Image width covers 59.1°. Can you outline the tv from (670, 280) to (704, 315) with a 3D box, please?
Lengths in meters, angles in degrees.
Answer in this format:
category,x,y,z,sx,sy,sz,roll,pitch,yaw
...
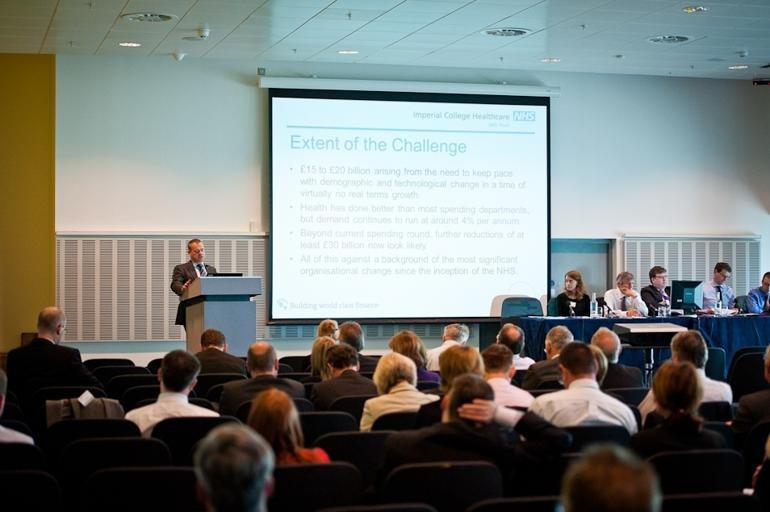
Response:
category,x,y,z,sx,sy,sz,roll,pitch,yaw
tv,4.243,0.592,9.537,0.487,0.466,0.173,0,5,-10

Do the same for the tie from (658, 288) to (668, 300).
category,x,y,z,sx,sy,sz,roll,pitch,yaw
tie,4.137,0.567,10.100,0.112,0.151,0.056,0,-28,-6

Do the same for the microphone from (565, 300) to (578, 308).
category,x,y,z,sx,sy,sz,roll,pitch,yaw
microphone,2.651,0.682,9.620,0.116,0.112,0.034,-1,0,-3

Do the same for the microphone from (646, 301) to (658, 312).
category,x,y,z,sx,sy,sz,roll,pitch,yaw
microphone,3.857,0.733,9.818,0.142,0.089,0.147,4,13,-16

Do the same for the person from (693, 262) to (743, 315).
category,x,y,z,sx,sy,sz,roll,pitch,yaw
person,5.224,0.563,10.678,0.618,0.838,0.698,3,-1,45

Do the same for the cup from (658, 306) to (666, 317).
category,x,y,z,sx,sy,sz,roll,pitch,yaw
cup,3.878,0.777,9.484,0.141,0.135,0.242,0,1,11

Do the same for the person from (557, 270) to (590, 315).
category,x,y,z,sx,sy,sz,roll,pitch,yaw
person,2.722,0.628,9.734,0.496,0.786,0.479,2,-7,11

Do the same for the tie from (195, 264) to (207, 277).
category,x,y,z,sx,sy,sz,roll,pitch,yaw
tie,-2.307,0.182,8.461,0.103,0.139,0.043,5,42,9

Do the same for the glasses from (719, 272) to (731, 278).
category,x,y,z,sx,sy,sz,roll,pitch,yaw
glasses,5.366,0.301,10.715,0.135,0.038,0.130,9,-26,-29

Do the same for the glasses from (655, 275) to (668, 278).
category,x,y,z,sx,sy,sz,roll,pitch,yaw
glasses,4.015,0.298,9.851,0.080,0.030,0.084,1,-7,-4

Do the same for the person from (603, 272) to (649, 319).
category,x,y,z,sx,sy,sz,roll,pitch,yaw
person,3.567,0.739,9.964,0.577,0.924,0.496,-2,-3,38
